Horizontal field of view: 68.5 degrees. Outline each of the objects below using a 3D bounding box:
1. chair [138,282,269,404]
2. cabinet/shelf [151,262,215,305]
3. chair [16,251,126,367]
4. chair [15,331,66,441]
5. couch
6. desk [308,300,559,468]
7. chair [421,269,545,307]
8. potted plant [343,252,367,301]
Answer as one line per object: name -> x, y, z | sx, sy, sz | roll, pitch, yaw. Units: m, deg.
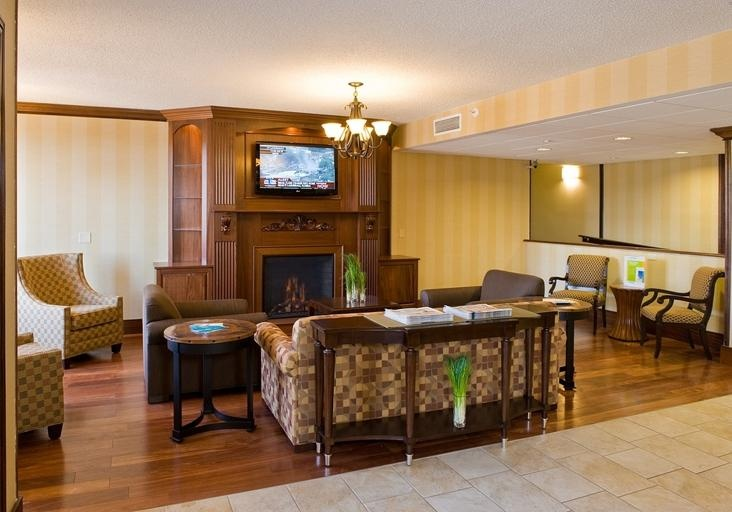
chair -> -1.849, 0.888, 5.971 | 1.368, 0.883, 1.293 | 4, 8, -18
cabinet/shelf -> -2.528, 0.354, 7.501 | 0.905, 0.687, 0.531 | 0, 6, -22
chair -> -3.694, 0.630, 6.705 | 1.028, 1.035, 0.918 | 8, 11, 14
chair -> -2.773, 1.214, 4.595 | 0.381, 0.781, 0.253 | -7, 15, -28
couch -> 0.215, 0.751, 4.837 | 2.452, 0.794, 1.277 | -1, 4, -19
desk -> 0.694, 1.086, 4.711 | 2.366, 0.953, 0.735 | 0, -4, -24
chair -> 1.416, 0.414, 6.579 | 0.743, 0.662, 0.910 | 5, -4, -21
potted plant -> -0.134, 0.301, 6.930 | 0.253, 0.531, 0.595 | 0, 12, -1
